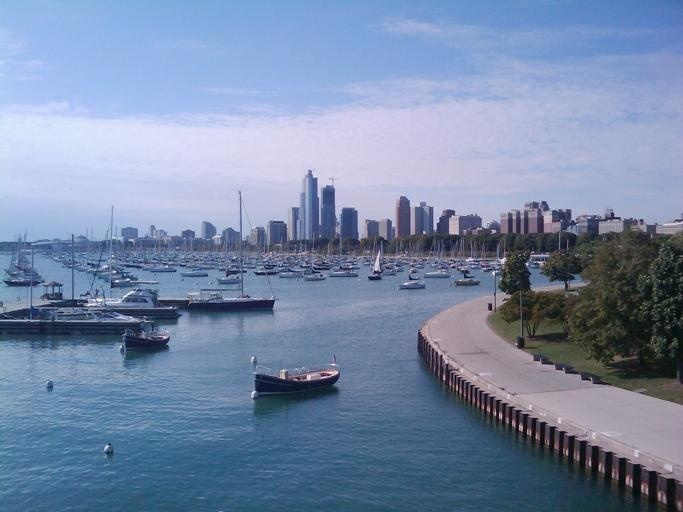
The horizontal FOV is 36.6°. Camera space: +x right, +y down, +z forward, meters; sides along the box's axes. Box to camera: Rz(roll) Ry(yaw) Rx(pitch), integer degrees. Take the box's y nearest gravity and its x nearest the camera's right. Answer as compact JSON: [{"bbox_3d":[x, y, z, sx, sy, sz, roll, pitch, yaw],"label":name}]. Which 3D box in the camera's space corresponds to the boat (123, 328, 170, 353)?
[{"bbox_3d":[-25.409,11.208,134.860,2.947,2.067,5.769,9,9,43],"label":"boat"}]
